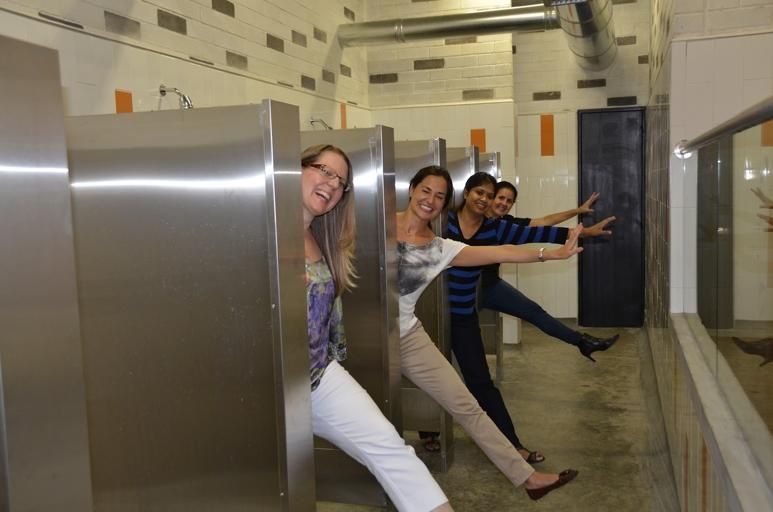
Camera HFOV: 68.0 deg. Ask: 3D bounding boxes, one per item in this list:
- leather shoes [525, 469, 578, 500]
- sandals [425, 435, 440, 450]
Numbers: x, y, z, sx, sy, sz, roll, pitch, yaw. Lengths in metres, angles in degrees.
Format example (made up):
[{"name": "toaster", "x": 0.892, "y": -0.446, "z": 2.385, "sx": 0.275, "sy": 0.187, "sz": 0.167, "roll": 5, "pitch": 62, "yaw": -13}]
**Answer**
[{"name": "leather shoes", "x": 0.852, "y": 1.191, "z": 2.960, "sx": 0.230, "sy": 0.059, "sz": 0.074, "roll": -30, "pitch": 5, "yaw": -11}, {"name": "sandals", "x": 0.281, "y": 1.135, "z": 3.463, "sx": 0.076, "sy": 0.030, "sz": 0.128, "roll": 2, "pitch": 9, "yaw": -1}]
